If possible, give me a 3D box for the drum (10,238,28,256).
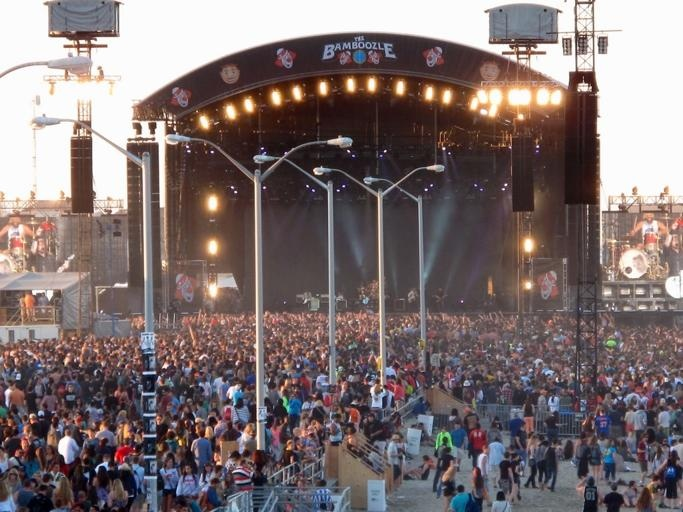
[{"bbox_3d":[-38.158,-1.174,189.211,1.930,2.349,1.993,0,0,-5],"label":"drum"}]
